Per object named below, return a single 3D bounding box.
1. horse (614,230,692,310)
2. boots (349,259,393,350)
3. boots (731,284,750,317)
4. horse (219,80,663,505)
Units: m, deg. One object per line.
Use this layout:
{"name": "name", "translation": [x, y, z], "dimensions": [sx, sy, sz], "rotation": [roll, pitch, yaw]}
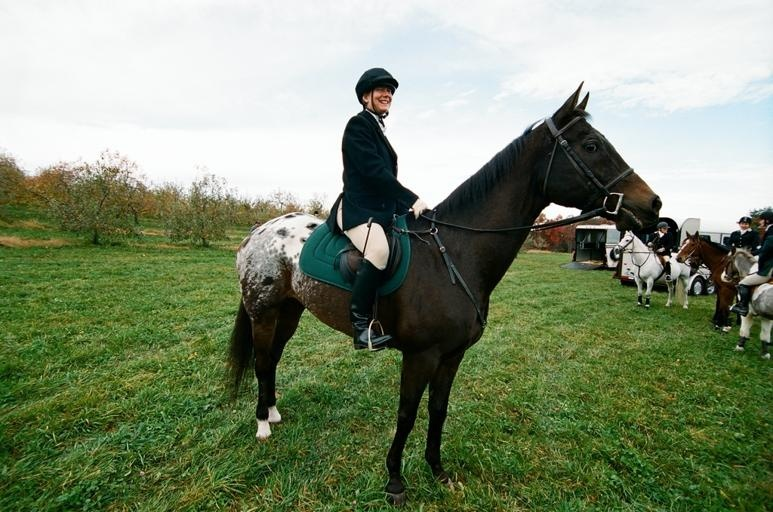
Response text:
{"name": "horse", "translation": [8.962, 0.617, 13.795], "dimensions": [3.521, 2.325, 1.052], "rotation": [6, -4, -21]}
{"name": "boots", "translation": [-0.215, 0.645, 5.397], "dimensions": [0.505, 1.149, 0.241], "rotation": [3, 5, -3]}
{"name": "boots", "translation": [7.895, 0.995, 9.220], "dimensions": [0.291, 0.678, 0.663], "rotation": [7, 6, 42]}
{"name": "horse", "translation": [0.871, 1.344, 6.425], "dimensions": [5.122, 4.730, 1.605], "rotation": [5, 3, 20]}
